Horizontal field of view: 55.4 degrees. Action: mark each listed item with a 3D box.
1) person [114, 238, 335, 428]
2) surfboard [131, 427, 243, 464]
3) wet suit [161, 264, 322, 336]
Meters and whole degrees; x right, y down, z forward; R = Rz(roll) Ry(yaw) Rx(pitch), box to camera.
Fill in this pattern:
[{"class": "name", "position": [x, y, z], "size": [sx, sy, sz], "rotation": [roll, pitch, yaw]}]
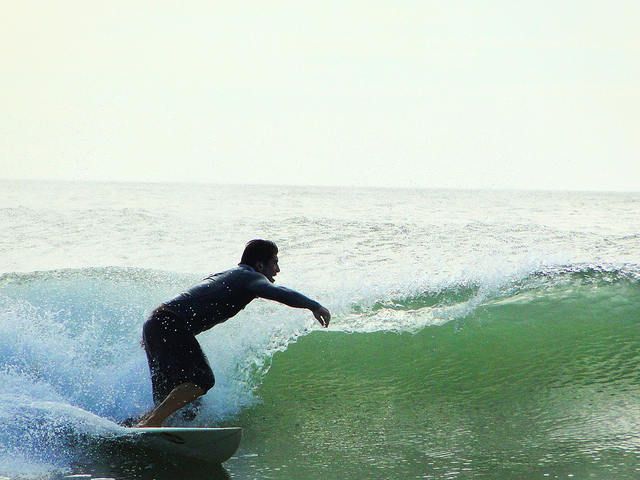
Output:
[{"class": "person", "position": [-1.010, 0.863, 5.900], "size": [1.472, 1.640, 0.567], "rotation": [-1, 9, -19]}, {"class": "surfboard", "position": [-1.161, 1.833, 5.465], "size": [0.896, 0.366, 0.149], "rotation": [1, 8, -3]}, {"class": "wet suit", "position": [-0.783, 0.575, 5.976], "size": [0.982, 0.856, 1.115], "rotation": [6, 6, -36]}]
